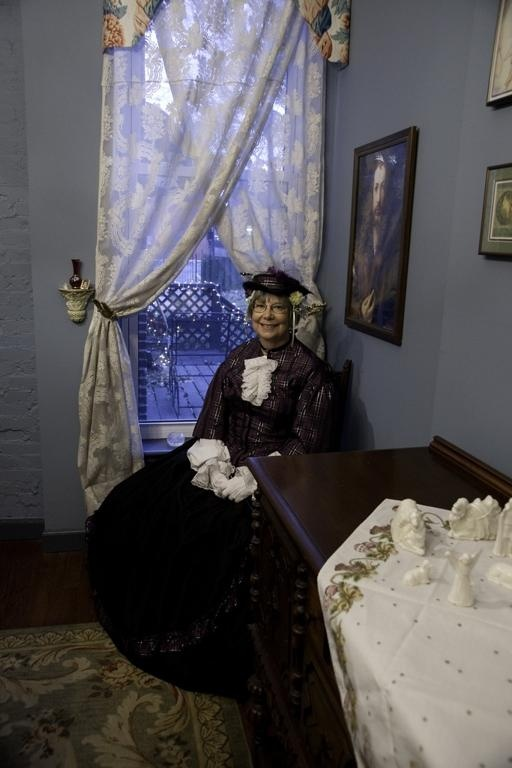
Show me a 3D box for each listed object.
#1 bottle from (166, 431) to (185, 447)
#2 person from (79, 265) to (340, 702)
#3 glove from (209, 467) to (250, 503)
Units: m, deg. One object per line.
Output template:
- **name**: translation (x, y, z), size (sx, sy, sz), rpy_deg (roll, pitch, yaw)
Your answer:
- **bottle**: translation (-0.369, 0.258, 2.667), size (0.069, 0.054, 0.076), rpy_deg (1, -3, -12)
- **person**: translation (-0.123, 0.271, 2.012), size (0.931, 1.386, 0.768), rpy_deg (6, 3, 21)
- **glove**: translation (-0.081, 0.329, 1.896), size (0.113, 0.051, 0.116), rpy_deg (-27, 32, -8)
